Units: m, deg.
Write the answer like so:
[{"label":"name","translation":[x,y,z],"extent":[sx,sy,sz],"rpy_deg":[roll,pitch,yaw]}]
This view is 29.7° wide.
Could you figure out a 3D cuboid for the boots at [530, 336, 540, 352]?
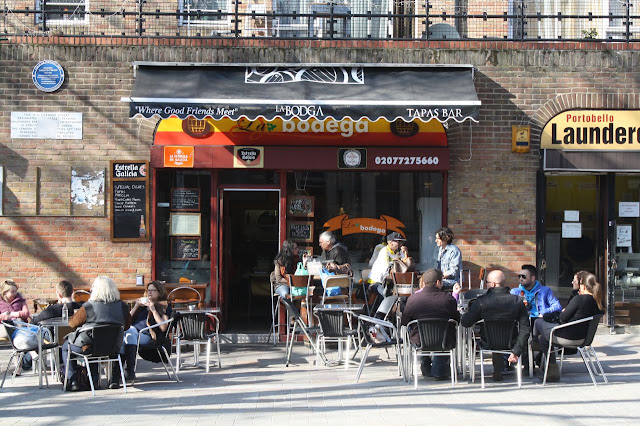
[{"label":"boots","translation":[4.028,2.497,22.624],"extent":[0.239,0.312,0.326],"rpy_deg":[0,-1,25]}]

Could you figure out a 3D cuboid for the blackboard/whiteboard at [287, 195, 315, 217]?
[{"label":"blackboard/whiteboard","translation":[-0.419,-0.149,25.612],"extent":[0.472,0.397,0.063],"rpy_deg":[1,8,-3]}]

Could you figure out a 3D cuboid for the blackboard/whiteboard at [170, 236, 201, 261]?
[{"label":"blackboard/whiteboard","translation":[-2.849,0.782,25.578],"extent":[0.515,0.394,0.035],"rpy_deg":[1,-3,-3]}]

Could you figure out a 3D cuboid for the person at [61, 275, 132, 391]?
[{"label":"person","translation":[-4.125,2.231,22.168],"extent":[1.230,2.071,0.504],"rpy_deg":[-2,-8,-7]}]

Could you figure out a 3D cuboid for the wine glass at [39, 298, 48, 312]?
[{"label":"wine glass","translation":[-5.563,1.870,24.238],"extent":[0.221,0.205,0.228],"rpy_deg":[1,4,-10]}]

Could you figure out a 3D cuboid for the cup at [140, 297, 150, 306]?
[{"label":"cup","translation":[-3.307,1.695,22.822],"extent":[0.147,0.139,0.145],"rpy_deg":[-1,2,0]}]

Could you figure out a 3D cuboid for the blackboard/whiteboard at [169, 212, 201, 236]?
[{"label":"blackboard/whiteboard","translation":[-2.855,0.266,25.591],"extent":[0.519,0.372,0.040],"rpy_deg":[1,1,-2]}]

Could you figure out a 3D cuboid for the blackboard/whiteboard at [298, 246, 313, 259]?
[{"label":"blackboard/whiteboard","translation":[-0.307,0.838,25.575],"extent":[0.390,0.352,0.209],"rpy_deg":[0,0,6]}]

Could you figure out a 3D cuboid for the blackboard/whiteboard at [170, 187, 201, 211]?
[{"label":"blackboard/whiteboard","translation":[-2.840,-0.303,25.573],"extent":[0.522,0.434,0.055],"rpy_deg":[0,-2,0]}]

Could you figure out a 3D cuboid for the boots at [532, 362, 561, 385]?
[{"label":"boots","translation":[4.275,3.014,22.362],"extent":[0.645,0.490,0.254],"rpy_deg":[1,0,18]}]

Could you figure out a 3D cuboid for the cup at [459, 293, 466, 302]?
[{"label":"cup","translation":[2.817,1.675,23.768],"extent":[0.141,0.188,0.132],"rpy_deg":[0,-3,0]}]

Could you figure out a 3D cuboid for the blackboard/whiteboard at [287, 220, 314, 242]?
[{"label":"blackboard/whiteboard","translation":[-0.424,0.397,25.646],"extent":[0.469,0.394,0.035],"rpy_deg":[1,4,-3]}]
